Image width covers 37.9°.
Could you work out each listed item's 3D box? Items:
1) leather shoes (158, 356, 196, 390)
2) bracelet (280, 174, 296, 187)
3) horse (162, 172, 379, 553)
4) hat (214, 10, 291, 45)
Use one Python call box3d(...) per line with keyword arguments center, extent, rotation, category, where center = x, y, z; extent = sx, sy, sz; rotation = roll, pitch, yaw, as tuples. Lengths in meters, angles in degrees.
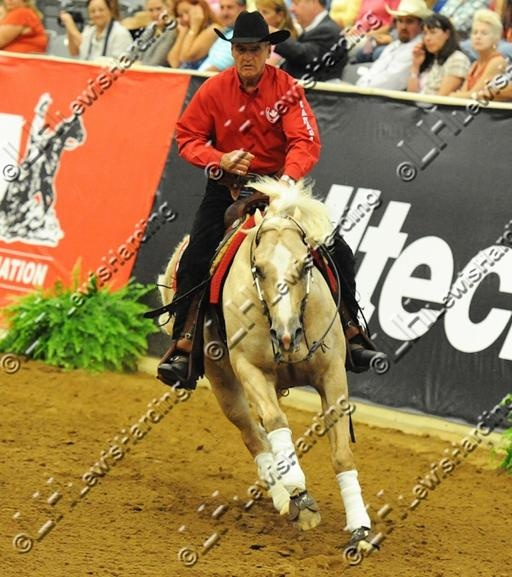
box3d(center=(-0.586, 0.656, 5.898), extent=(0.194, 0.196, 0.483), rotation=(6, -10, 15), category="leather shoes")
box3d(center=(0.208, -0.717, 4.980), extent=(0.079, 0.035, 0.109), rotation=(17, 7, 8), category="bracelet")
box3d(center=(0.193, 0.467, 4.961), extent=(0.832, 1.644, 1.555), rotation=(5, 3, -17), category="horse")
box3d(center=(0.008, -1.829, 5.447), extent=(0.387, 0.126, 0.376), rotation=(0, -2, 8), category="hat")
